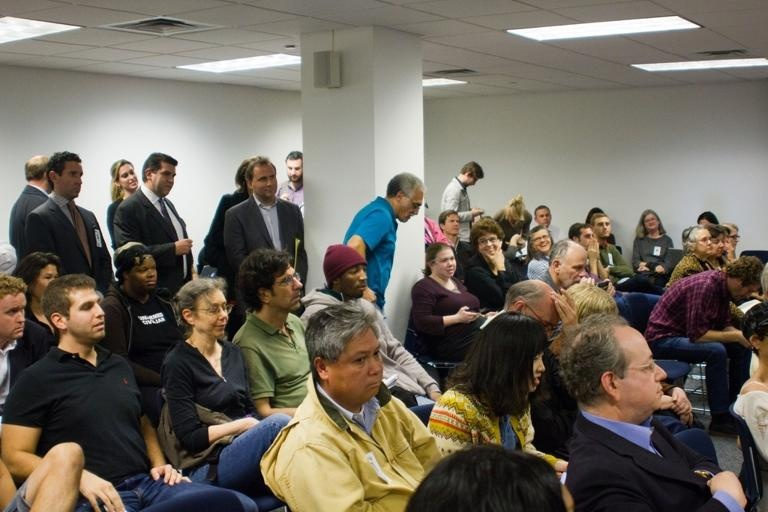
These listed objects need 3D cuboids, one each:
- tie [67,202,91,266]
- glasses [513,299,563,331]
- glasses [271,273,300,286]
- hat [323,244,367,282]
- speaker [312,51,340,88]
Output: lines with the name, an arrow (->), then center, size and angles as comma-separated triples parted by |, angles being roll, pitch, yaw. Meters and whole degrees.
tie -> -2.659, -0.198, 4.936 | 0.135, 0.565, 0.233 | -8, 12, -40
glasses -> 0.908, 0.366, 3.353 | 0.324, 0.222, 0.122 | -5, 10, -27
glasses -> -0.567, 0.138, 3.340 | 0.165, 0.093, 0.057 | -7, 11, -40
hat -> -0.281, 0.043, 4.045 | 0.252, 0.259, 0.275 | -3, -10, -15
speaker -> -0.576, -1.913, 5.756 | 0.327, 0.401, 0.208 | -4, -7, 39
